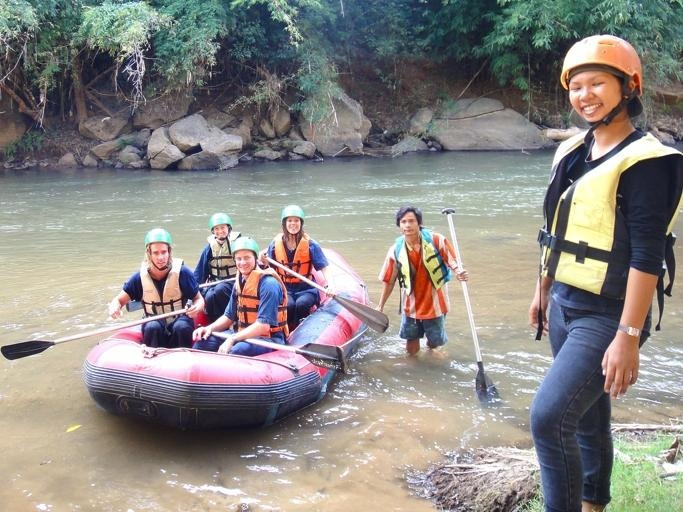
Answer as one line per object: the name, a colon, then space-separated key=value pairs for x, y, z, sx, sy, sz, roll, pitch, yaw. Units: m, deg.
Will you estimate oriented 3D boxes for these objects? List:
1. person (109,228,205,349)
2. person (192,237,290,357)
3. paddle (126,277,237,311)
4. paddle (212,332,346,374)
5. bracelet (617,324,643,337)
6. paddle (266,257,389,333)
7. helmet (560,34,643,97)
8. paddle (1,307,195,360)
person: x=-1.795 y=0.336 z=6.495 sx=0.852 sy=1.408 sz=0.802 roll=-4 pitch=-28 yaw=-9
person: x=-0.823 y=0.353 z=5.981 sx=0.948 sy=1.137 sz=0.863 roll=3 pitch=-1 yaw=-31
paddle: x=-1.450 y=0.350 z=6.023 sx=0.968 sy=0.085 sz=0.159 roll=-14 pitch=18 yaw=-36
paddle: x=-0.531 y=0.782 z=5.356 sx=1.311 sy=0.130 sz=0.236 roll=7 pitch=43 yaw=23
bracelet: x=1.344 y=0.349 z=3.125 sx=0.064 sy=0.023 sz=0.063 roll=20 pitch=3 yaw=-15
paddle: x=-0.170 y=0.389 z=6.451 sx=1.305 sy=0.174 sz=0.090 roll=35 pitch=31 yaw=29
helmet: x=1.355 y=-0.966 z=3.404 sx=0.298 sy=0.281 sz=0.364 roll=13 pitch=24 yaw=40
paddle: x=-2.164 y=0.706 z=5.972 sx=1.419 sy=0.065 sz=0.200 roll=-13 pitch=34 yaw=-23
